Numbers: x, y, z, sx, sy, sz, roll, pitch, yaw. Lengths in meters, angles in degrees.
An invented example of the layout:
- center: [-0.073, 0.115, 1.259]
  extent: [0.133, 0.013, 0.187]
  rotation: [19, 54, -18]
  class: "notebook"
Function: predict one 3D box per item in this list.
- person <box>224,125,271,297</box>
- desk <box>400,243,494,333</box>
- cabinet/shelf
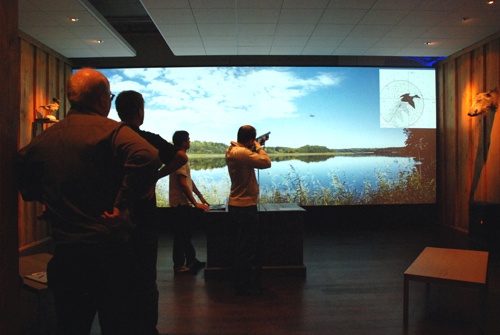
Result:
- center: [-0.022, 0.530, 5.169]
  extent: [0.586, 2.144, 0.730]
  rotation: [-1, 13, -3]
  class: "person"
- center: [2.416, 1.657, 4.626]
  extent: [0.834, 0.578, 1.353]
  rotation: [1, 5, 31]
  class: "desk"
- center: [0.104, 1.035, 5.881]
  extent: [1.184, 0.689, 1.128]
  rotation: [1, -1, 0]
  class: "cabinet/shelf"
